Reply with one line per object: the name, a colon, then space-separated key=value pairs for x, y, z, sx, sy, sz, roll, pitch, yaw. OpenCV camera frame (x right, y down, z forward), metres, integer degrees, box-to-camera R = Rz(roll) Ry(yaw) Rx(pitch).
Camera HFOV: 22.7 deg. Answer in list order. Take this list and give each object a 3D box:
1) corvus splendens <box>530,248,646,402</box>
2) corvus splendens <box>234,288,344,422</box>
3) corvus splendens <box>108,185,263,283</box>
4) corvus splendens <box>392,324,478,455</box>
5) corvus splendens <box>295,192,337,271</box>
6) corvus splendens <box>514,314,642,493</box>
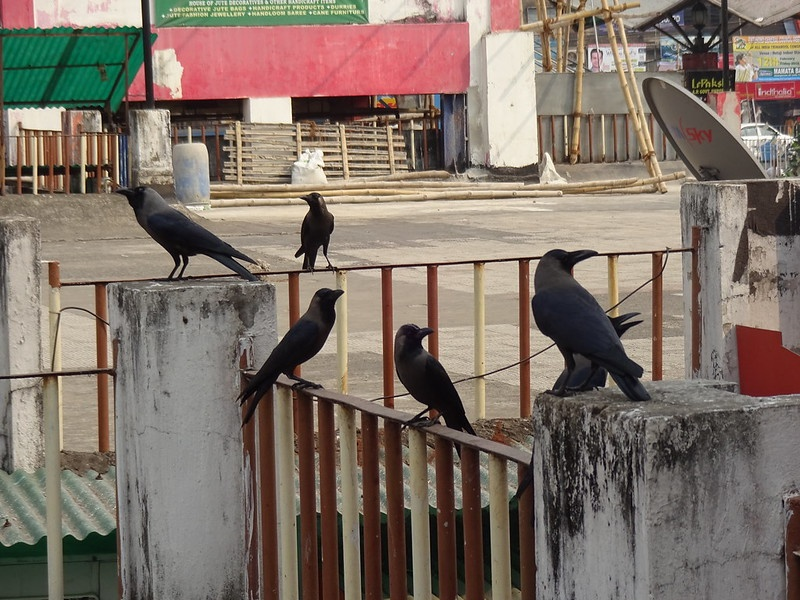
corvus splendens: x=1.697 y=0.225 z=17.991 sx=1.106 sy=1.354 sz=0.659 roll=-2 pitch=2 yaw=28
corvus splendens: x=-1.026 y=0.547 z=18.949 sx=1.056 sy=1.251 sz=0.438 roll=-3 pitch=0 yaw=3
corvus splendens: x=-2.091 y=-0.613 z=19.817 sx=1.467 sy=0.953 sz=0.514 roll=4 pitch=2 yaw=-6
corvus splendens: x=0.325 y=0.752 z=18.895 sx=0.809 sy=1.186 sz=0.496 roll=0 pitch=2 yaw=-38
corvus splendens: x=-0.984 y=-0.845 z=23.306 sx=0.416 sy=1.047 sz=0.449 roll=-2 pitch=13 yaw=4
corvus splendens: x=1.602 y=0.654 z=18.615 sx=1.212 sy=1.956 sz=0.869 roll=-6 pitch=12 yaw=-25
